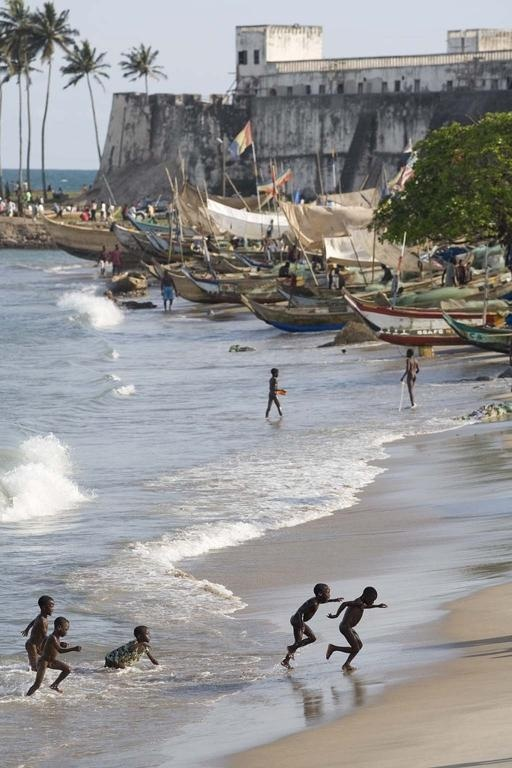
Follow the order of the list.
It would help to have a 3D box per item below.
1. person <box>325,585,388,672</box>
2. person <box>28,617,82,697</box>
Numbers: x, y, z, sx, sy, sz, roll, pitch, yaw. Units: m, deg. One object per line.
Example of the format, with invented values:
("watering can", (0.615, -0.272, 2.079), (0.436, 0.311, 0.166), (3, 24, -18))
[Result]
("person", (0.793, 1.965, 13.398), (0.476, 0.685, 1.052), (-5, 8, 1))
("person", (-1.667, 2.274, 13.157), (0.381, 0.774, 0.326), (7, -4, -14))
